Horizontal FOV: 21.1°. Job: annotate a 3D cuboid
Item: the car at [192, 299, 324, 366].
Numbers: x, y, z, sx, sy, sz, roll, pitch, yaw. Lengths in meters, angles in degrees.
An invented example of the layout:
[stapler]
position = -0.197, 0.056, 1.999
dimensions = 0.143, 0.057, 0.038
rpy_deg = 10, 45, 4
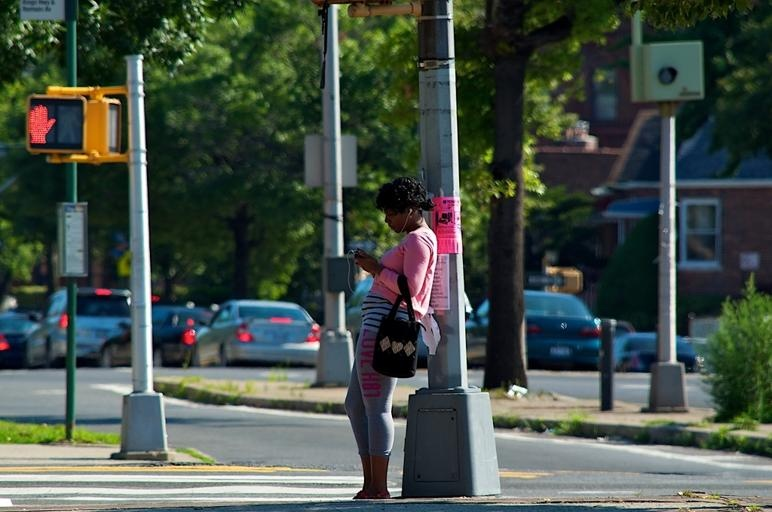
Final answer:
[car]
position = -3.187, 1.809, 50.693
dimensions = 2.928, 1.617, 1.601
rpy_deg = 1, -2, 8
